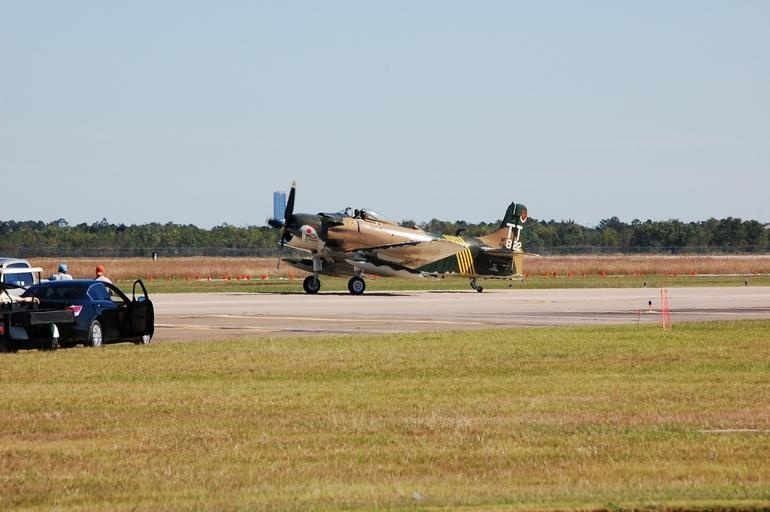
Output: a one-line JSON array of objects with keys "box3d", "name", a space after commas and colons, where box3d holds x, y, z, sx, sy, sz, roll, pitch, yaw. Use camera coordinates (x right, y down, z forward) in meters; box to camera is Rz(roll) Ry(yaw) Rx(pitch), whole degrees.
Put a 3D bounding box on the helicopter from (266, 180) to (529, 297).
[{"box3d": [0.969, -0.531, 50.512, 11.177, 4.277, 12.838, 7, -5, -26], "name": "helicopter"}]
